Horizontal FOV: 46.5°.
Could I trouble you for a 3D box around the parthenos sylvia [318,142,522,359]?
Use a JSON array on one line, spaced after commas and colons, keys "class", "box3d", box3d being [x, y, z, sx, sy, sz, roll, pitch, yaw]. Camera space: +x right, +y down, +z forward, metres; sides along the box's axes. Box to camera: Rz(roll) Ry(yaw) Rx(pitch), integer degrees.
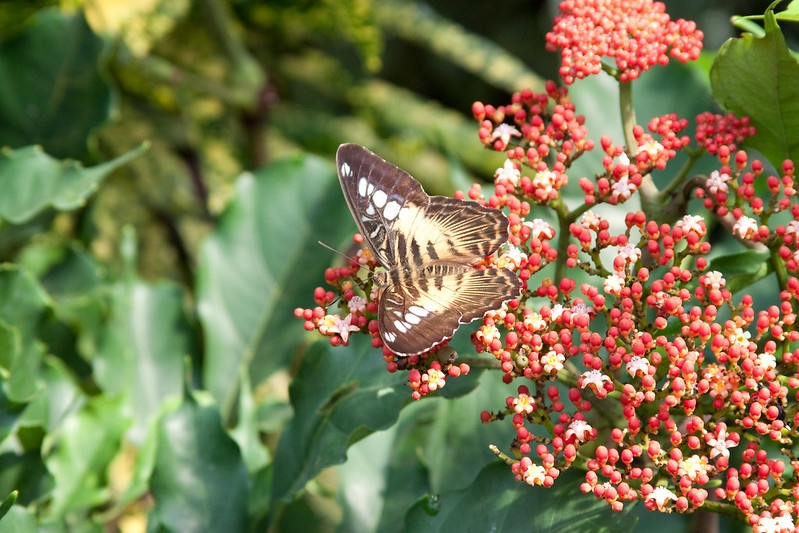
[{"class": "parthenos sylvia", "box3d": [0.045, -0.037, 1.969, 0.334, 0.561, 0.119, 1, 61, -1]}]
